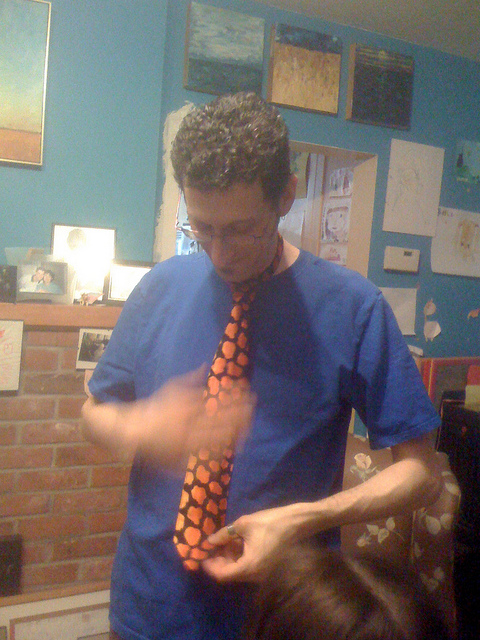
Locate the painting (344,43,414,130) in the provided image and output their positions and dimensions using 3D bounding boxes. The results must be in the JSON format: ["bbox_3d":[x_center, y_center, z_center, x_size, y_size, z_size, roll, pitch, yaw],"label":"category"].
[{"bbox_3d":[0.575,-1.001,2.402,0.326,0.428,0.053,2,0,-29],"label":"painting"}]

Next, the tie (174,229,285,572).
[{"bbox_3d":[-0.007,0.058,0.912,0.107,0.642,0.027,17,-23,-13],"label":"tie"}]

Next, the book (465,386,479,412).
[{"bbox_3d":[0.855,0.291,2.095,0.019,0.077,0.066,12,-9,-25],"label":"book"}]

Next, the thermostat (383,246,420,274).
[{"bbox_3d":[0.733,-0.281,2.568,0.200,0.103,0.034,-2,6,-32],"label":"thermostat"}]
